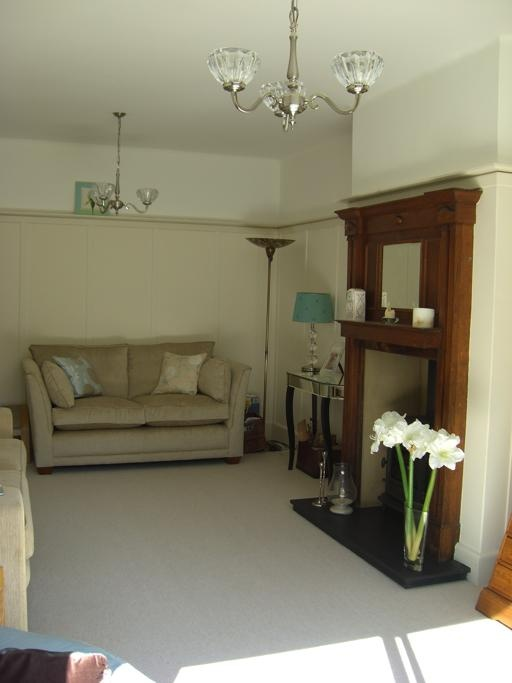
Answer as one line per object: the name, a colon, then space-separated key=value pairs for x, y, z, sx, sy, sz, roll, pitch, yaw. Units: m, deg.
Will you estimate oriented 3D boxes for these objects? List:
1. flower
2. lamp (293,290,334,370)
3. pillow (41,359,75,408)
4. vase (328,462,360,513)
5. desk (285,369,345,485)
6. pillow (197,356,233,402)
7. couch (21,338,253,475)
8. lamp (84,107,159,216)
flower: x=0.829 y=0.738 z=2.801 sx=0.451 sy=0.780 sz=0.696 roll=1 pitch=2 yaw=21
lamp: x=0.511 y=-0.094 z=4.794 sx=0.352 sy=0.717 sz=0.652 roll=1 pitch=2 yaw=8
pillow: x=-1.610 y=0.350 z=4.422 sx=0.100 sy=0.339 sz=0.345 roll=-20 pitch=3 yaw=2
vase: x=0.529 y=0.906 z=3.349 sx=0.203 sy=0.304 sz=0.207 roll=-3 pitch=1 yaw=-16
desk: x=0.484 y=0.702 z=4.388 sx=0.322 sy=0.744 sz=0.839 roll=-1 pitch=4 yaw=-16
pillow: x=-0.377 y=0.360 z=4.877 sx=0.114 sy=0.240 sz=0.339 roll=-3 pitch=2 yaw=-27
couch: x=-1.073 y=0.561 z=4.843 sx=1.853 sy=1.017 sz=0.799 roll=0 pitch=2 yaw=-16
lamp: x=-1.139 y=-1.487 z=4.776 sx=0.668 sy=0.841 sz=1.398 roll=0 pitch=2 yaw=-17
